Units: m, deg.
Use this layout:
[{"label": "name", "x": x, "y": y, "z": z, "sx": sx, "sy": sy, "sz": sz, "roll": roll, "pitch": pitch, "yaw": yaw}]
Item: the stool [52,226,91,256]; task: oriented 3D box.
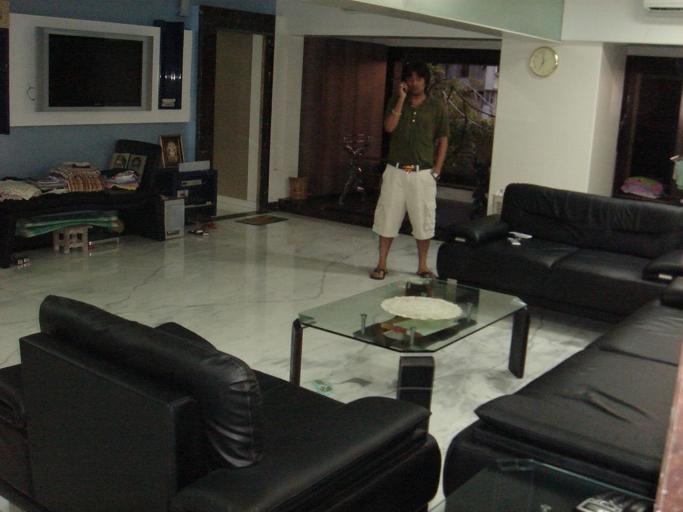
[{"label": "stool", "x": -2.873, "y": -0.182, "z": 5.763, "sx": 0.339, "sy": 0.278, "sz": 0.312, "roll": -3, "pitch": 13, "yaw": -13}]

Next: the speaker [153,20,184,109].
[{"label": "speaker", "x": -2.113, "y": -2.350, "z": 6.651, "sx": 0.332, "sy": 1.036, "sz": 0.148, "roll": -3, "pitch": 18, "yaw": -16}]

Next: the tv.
[{"label": "tv", "x": -2.798, "y": -2.098, "z": 5.997, "sx": 0.159, "sy": 0.673, "sz": 1.228, "roll": 11, "pitch": 15, "yaw": 41}]

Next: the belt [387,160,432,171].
[{"label": "belt", "x": 0.661, "y": -0.881, "z": 5.312, "sx": 0.429, "sy": 0.085, "sz": 0.139, "roll": 5, "pitch": 16, "yaw": 10}]

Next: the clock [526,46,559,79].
[{"label": "clock", "x": 2.183, "y": -2.107, "z": 5.833, "sx": 0.325, "sy": 0.291, "sz": 0.076, "roll": 5, "pitch": 5, "yaw": 40}]

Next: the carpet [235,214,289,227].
[{"label": "carpet", "x": -1.112, "y": -0.498, "z": 7.418, "sx": 0.547, "sy": 0.037, "sz": 0.637, "roll": 13, "pitch": 18, "yaw": 35}]

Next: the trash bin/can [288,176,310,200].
[{"label": "trash bin/can", "x": -0.624, "y": -0.979, "z": 7.803, "sx": 0.260, "sy": 0.315, "sz": 0.115, "roll": 0, "pitch": 17, "yaw": -8}]

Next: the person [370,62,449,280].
[{"label": "person", "x": 0.684, "y": -0.836, "z": 5.353, "sx": 0.732, "sy": 2.077, "sz": 0.670, "roll": 1, "pitch": 17, "yaw": -4}]

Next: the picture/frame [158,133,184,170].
[{"label": "picture/frame", "x": -2.166, "y": -1.307, "z": 6.766, "sx": 0.058, "sy": 0.511, "sz": 0.502, "roll": 4, "pitch": 13, "yaw": 34}]

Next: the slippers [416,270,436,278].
[{"label": "slippers", "x": 0.859, "y": 0.185, "z": 5.474, "sx": 0.193, "sy": 0.067, "sz": 0.062, "roll": 1, "pitch": 10, "yaw": 17}]

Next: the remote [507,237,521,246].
[{"label": "remote", "x": 1.551, "y": -0.126, "z": 4.827, "sx": 0.082, "sy": 0.061, "sz": 0.080, "roll": -11, "pitch": 21, "yaw": -25}]
